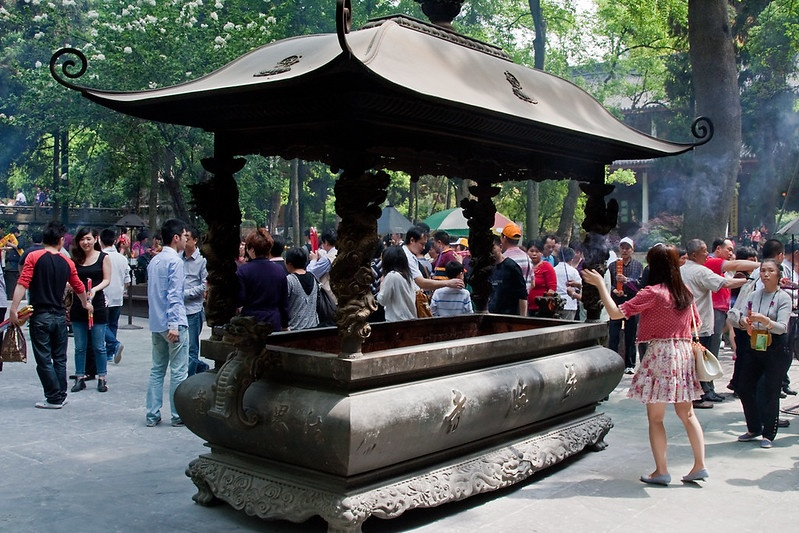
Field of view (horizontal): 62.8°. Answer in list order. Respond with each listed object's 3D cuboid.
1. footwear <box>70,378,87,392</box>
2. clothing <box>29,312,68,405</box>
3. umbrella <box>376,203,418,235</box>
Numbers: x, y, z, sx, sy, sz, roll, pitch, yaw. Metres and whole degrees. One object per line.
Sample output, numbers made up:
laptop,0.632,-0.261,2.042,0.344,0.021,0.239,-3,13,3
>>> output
footwear,-5.315,1.921,10.651,0.142,0.240,0.301,-3,-19,11
clothing,-5.331,1.335,9.895,0.477,1.424,0.575,-5,-2,25
umbrella,-0.156,-1.381,19.659,1.394,0.554,1.336,-3,14,-14
